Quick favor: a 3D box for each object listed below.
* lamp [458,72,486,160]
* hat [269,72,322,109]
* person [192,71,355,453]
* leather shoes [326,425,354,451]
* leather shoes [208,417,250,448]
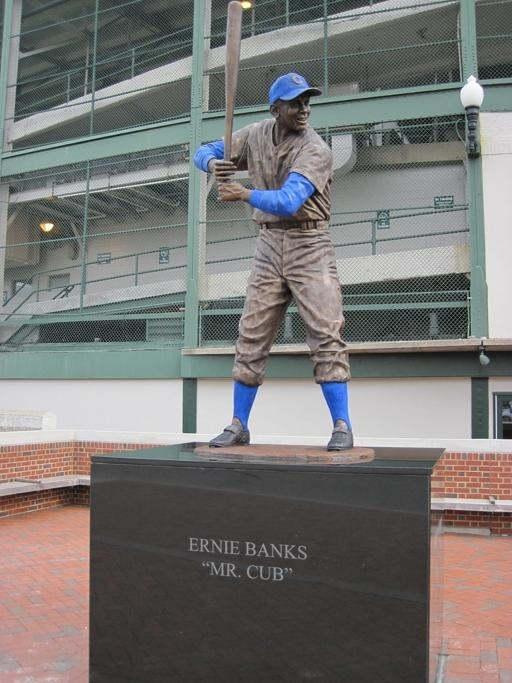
[{"bbox_3d":[2.654,-2.850,9.944,0.252,0.996,0.914,0,-2,15],"label":"lamp"},{"bbox_3d":[0.192,-1.299,4.187,0.252,0.117,0.175,10,21,42],"label":"hat"},{"bbox_3d":[0.130,-0.403,4.284,0.748,1.955,0.593,0,-2,19],"label":"person"},{"bbox_3d":[0.433,0.498,4.183,0.134,0.131,0.240,0,-2,5],"label":"leather shoes"},{"bbox_3d":[-0.170,0.523,4.449,0.102,0.116,0.285,1,-5,34],"label":"leather shoes"}]
